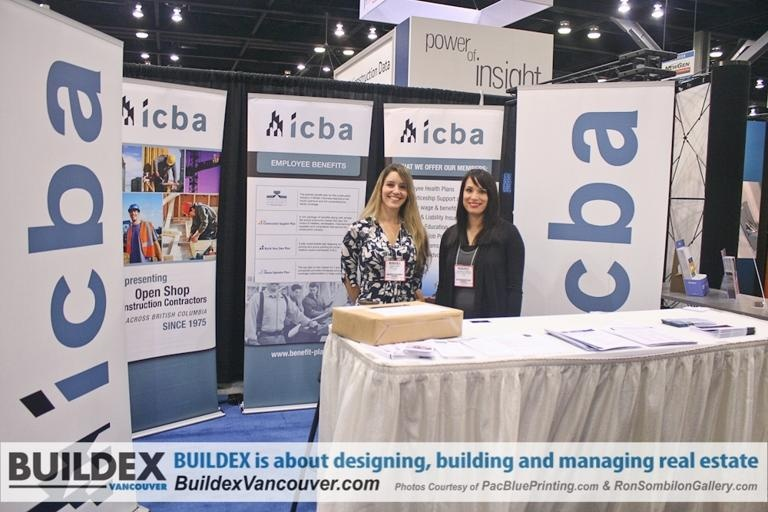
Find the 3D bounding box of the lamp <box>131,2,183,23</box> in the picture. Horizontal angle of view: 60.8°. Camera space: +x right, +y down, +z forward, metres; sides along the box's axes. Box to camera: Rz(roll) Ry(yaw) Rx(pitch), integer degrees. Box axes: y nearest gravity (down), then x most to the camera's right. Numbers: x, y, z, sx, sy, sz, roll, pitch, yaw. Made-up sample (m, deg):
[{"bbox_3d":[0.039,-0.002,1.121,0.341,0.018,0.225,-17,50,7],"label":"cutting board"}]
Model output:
[{"bbox_3d":[-3.028,-3.285,8.715,0.587,0.264,0.205,-2,-2,-15],"label":"lamp"}]
